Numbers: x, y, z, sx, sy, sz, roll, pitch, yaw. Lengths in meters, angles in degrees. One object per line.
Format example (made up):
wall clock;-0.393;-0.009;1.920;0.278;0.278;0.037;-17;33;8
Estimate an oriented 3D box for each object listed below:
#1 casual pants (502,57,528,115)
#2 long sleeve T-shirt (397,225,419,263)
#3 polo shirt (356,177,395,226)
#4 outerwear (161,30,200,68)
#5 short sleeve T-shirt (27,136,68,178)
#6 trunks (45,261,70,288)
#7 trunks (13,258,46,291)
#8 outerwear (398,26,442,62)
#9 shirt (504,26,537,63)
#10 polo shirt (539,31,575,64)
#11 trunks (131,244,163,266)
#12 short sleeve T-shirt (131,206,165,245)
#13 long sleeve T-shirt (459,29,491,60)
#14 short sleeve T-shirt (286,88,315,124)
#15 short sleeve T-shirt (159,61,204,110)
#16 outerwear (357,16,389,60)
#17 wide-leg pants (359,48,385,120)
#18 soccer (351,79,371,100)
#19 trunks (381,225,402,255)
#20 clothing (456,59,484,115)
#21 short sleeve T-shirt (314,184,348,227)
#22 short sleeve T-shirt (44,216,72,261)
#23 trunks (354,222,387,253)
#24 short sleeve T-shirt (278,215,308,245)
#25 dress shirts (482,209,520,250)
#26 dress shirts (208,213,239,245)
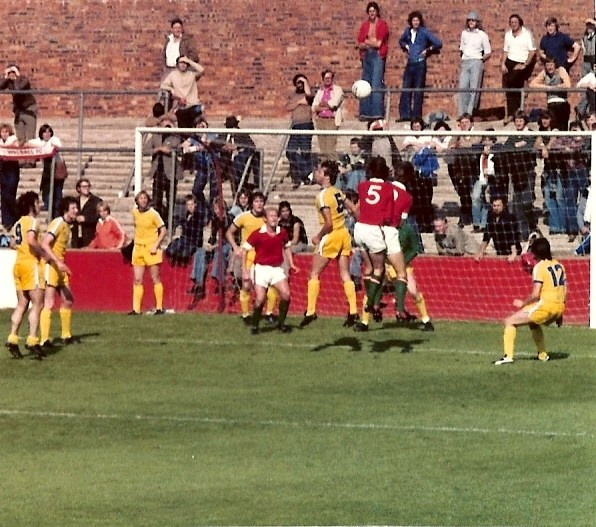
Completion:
casual pants;4.086;-3.251;27.478;0.518;1.100;1.483;2;15;8
long sleeve T-shirt;1.635;-0.318;22.159;0.358;0.542;0.155;3;3;-10
polo shirt;1.069;-0.791;20.583;0.578;0.758;0.376;1;-16;-8
outerwear;-2.314;-4.068;28.073;0.761;0.735;0.395;10;-1;43
short sleeve T-shirt;-4.385;-1.921;26.222;0.645;0.754;0.243;2;10;4
trunks;-3.457;0.189;20.936;0.256;0.339;0.422;1;-10;23
trunks;-3.739;0.110;20.566;0.470;0.491;0.348;3;17;22
outerwear;2.261;-4.127;27.818;0.933;0.844;0.352;13;19;36
shirt;4.167;-4.045;27.400;0.339;0.573;0.772;-12;19;-40
polo shirt;4.696;-3.891;26.584;0.588;0.583;0.421;2;14;8
trunks;-2.462;-0.116;23.708;0.508;0.459;0.303;-4;-1;20
short sleeve T-shirt;-2.505;-0.602;23.645;0.569;0.650;0.341;7;10;25
long sleeve T-shirt;3.342;-4.121;27.647;0.529;0.588;0.706;1;15;5
short sleeve T-shirt;0.047;-2.838;26.932;0.621;0.892;0.467;-1;-7;9
short sleeve T-shirt;-2.165;-3.356;27.099;0.771;0.895;0.667;-2;14;-6
outerwear;1.418;-4.245;27.654;0.598;0.798;0.433;2;4;25
wide-leg pants;1.399;-3.392;27.745;0.434;1.397;0.358;1;4;18
soccer;1.076;-2.919;24.724;0.342;0.390;0.202;13;15;8
trunks;1.281;-0.299;20.675;0.287;0.573;0.418;-3;-3;10
clothing;3.236;-3.274;27.723;0.378;1.223;0.316;-1;-27;22
short sleeve T-shirt;0.550;-0.837;21.839;0.633;0.693;0.330;-14;19;-42
short sleeve T-shirt;-3.516;-0.360;21.380;0.309;0.812;0.696;1;2;18
trunks;0.998;-0.425;20.428;0.482;0.490;0.353;10;23;39
short sleeve T-shirt;-0.109;-0.525;23.077;0.374;0.325;0.593;2;43;-17
dress shirts;3.263;-0.492;23.379;0.618;0.653;0.453;4;15;16
dress shirts;-1.321;-0.607;24.228;0.457;0.492;0.148;-2;14;-16
